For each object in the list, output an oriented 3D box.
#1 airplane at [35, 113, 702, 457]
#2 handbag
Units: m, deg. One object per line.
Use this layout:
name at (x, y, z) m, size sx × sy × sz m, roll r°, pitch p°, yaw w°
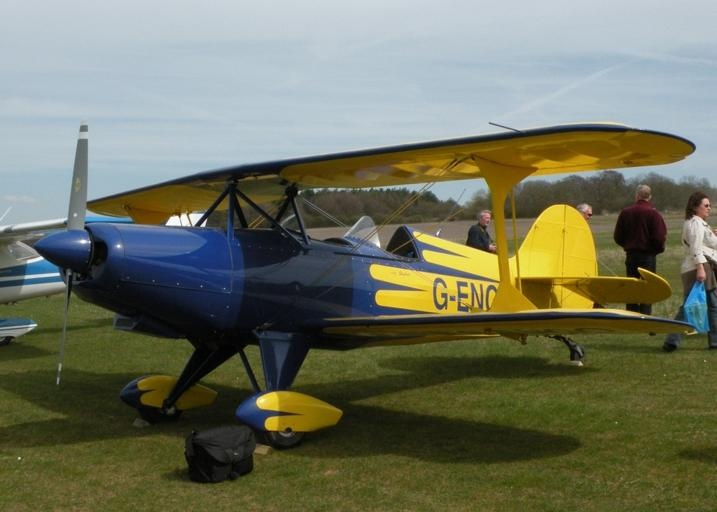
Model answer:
airplane at (0.217, 0.303, 8.046) m, size 6.597 × 1.530 × 7.402 m, roll 3°, pitch 1°, yaw -42°
handbag at (-1.272, 1.749, 6.342) m, size 0.491 × 0.308 × 0.690 m, roll 6°, pitch -1°, yaw 31°
